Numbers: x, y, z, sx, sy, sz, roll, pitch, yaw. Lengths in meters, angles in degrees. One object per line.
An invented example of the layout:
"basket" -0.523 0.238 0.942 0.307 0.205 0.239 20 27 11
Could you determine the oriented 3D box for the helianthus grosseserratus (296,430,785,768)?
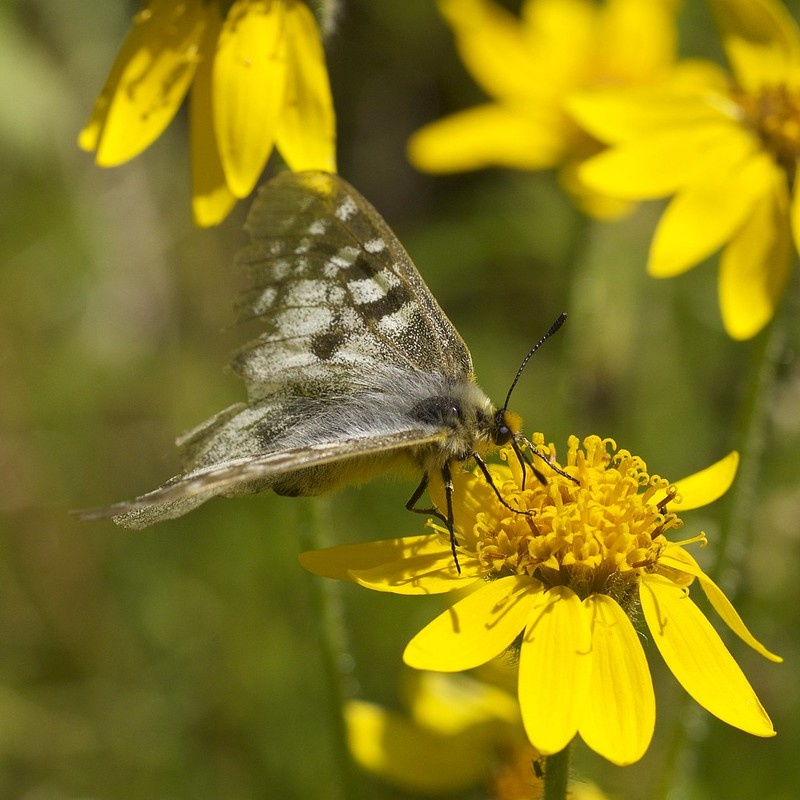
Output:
"helianthus grosseserratus" 0.205 0.275 1.558 0.675 0.299 0.469 -8 75 2
